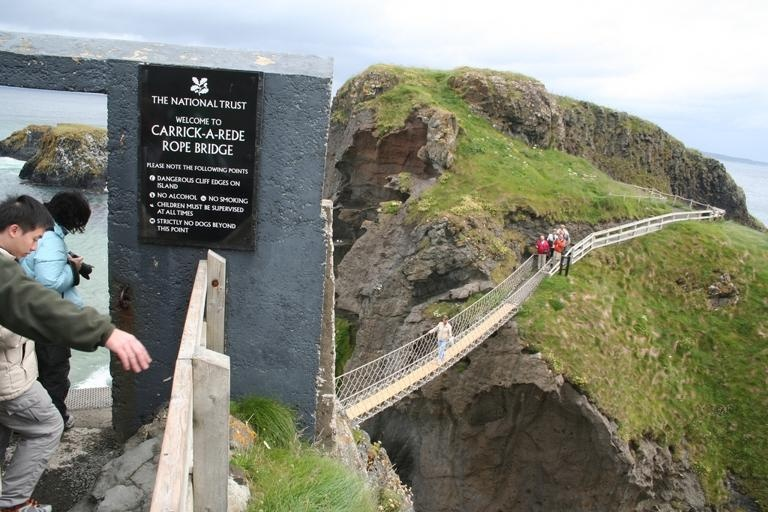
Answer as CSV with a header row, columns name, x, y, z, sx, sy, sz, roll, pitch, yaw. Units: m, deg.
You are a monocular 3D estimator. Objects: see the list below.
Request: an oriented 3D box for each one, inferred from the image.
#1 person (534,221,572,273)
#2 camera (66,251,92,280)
name,x,y,z,sx,sy,sz,roll,pitch,yaw
person,6.829,-0.245,24.688,1.292,1.708,0.990,-11,29,-43
camera,-3.718,0.103,7.490,0.129,0.251,0.390,-11,-11,-9
